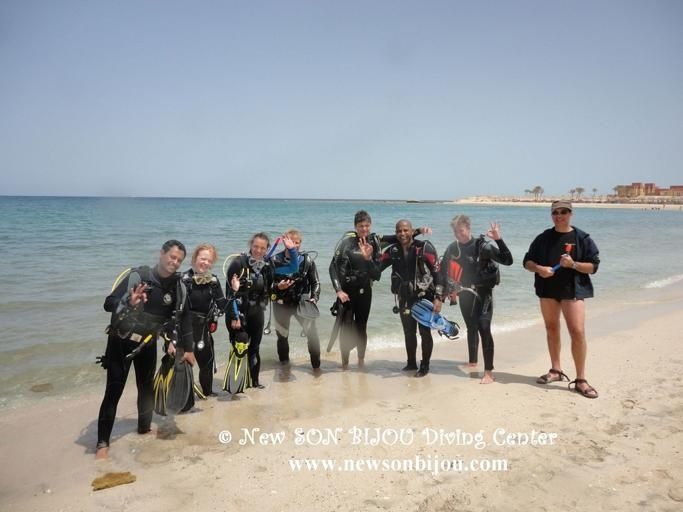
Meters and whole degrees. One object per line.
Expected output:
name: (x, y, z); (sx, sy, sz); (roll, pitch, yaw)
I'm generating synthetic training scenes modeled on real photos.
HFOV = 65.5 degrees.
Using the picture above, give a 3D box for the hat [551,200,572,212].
hat: (3.267, -0.728, 7.871); (0.350, 0.154, 0.180); (-7, 13, -21)

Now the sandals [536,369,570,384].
sandals: (3.374, 1.936, 8.526); (0.555, 0.203, 0.211); (2, -2, -8)

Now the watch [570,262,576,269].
watch: (3.366, 0.139, 7.703); (0.050, 0.091, 0.083); (0, -9, 15)

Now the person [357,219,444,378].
person: (1.244, 0.771, 9.199); (1.116, 2.788, 0.598); (8, 16, 36)

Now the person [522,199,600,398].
person: (3.375, 0.649, 8.018); (0.609, 2.914, 1.093); (-15, 18, -42)

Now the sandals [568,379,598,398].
sandals: (3.669, 1.995, 7.997); (0.195, 0.150, 0.364); (-1, 1, -17)

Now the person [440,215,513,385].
person: (2.225, 0.737, 8.953); (1.147, 2.794, 0.791); (10, 18, 41)
